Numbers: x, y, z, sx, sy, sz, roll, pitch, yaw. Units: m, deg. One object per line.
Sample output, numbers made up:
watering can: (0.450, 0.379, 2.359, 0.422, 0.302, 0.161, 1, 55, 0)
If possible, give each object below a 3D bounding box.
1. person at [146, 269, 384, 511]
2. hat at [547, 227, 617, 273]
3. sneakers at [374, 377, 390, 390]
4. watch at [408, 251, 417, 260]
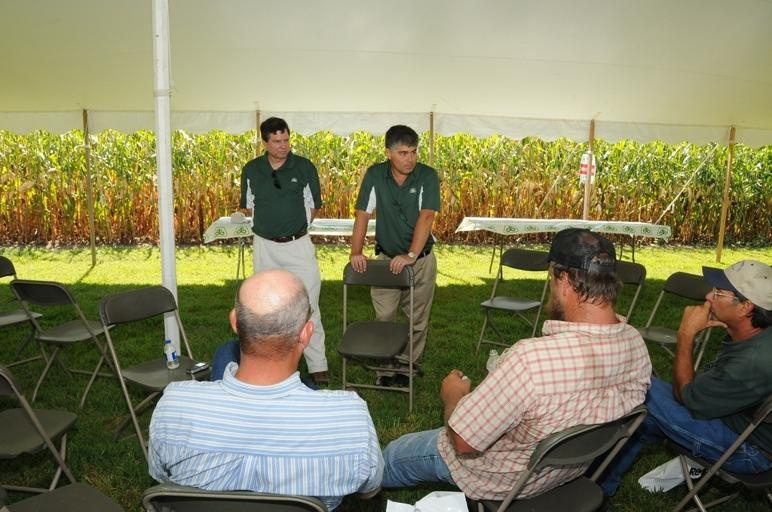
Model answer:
person: (-0.779, 0.952, 3.639, 1.452, 1.512, 0.651, 7, 15, 13)
hat: (1.497, -0.070, 4.348, 0.462, 0.412, 0.654, 1, 6, -14)
sneakers: (-0.012, 1.440, 6.395, 0.099, 0.118, 0.135, 8, 49, -1)
watch: (0.306, 0.006, 6.066, 0.082, 0.021, 0.086, 33, 66, 8)
